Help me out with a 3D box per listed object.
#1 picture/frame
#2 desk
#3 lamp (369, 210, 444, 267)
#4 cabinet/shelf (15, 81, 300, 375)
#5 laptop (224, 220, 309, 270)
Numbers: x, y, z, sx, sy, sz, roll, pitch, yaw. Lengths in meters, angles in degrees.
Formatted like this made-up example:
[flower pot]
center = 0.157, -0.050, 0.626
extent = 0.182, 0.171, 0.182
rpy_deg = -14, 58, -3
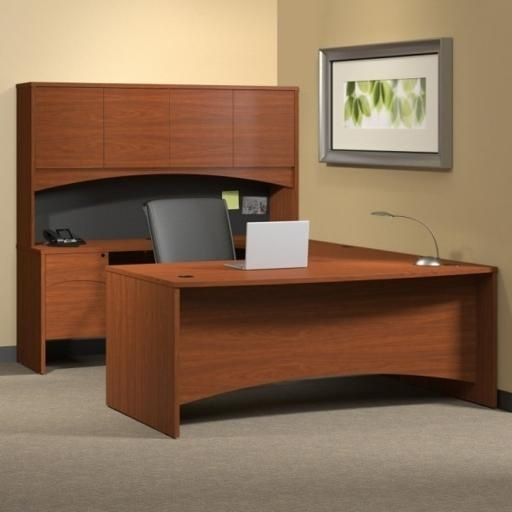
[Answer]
[picture/frame]
center = 0.937, -1.084, 3.561
extent = 0.087, 0.858, 1.190
rpy_deg = -3, 4, -39
[desk]
center = 0.285, 0.426, 2.931
extent = 2.127, 0.966, 1.002
rpy_deg = 3, -5, -26
[lamp]
center = 0.913, -0.104, 3.121
extent = 0.454, 0.351, 0.191
rpy_deg = 1, -6, 36
[cabinet/shelf]
center = -0.775, -0.245, 3.551
extent = 2.326, 2.347, 0.698
rpy_deg = -2, 3, -22
[laptop]
center = 0.056, -0.071, 2.715
extent = 0.373, 0.249, 0.268
rpy_deg = -2, 10, -25
